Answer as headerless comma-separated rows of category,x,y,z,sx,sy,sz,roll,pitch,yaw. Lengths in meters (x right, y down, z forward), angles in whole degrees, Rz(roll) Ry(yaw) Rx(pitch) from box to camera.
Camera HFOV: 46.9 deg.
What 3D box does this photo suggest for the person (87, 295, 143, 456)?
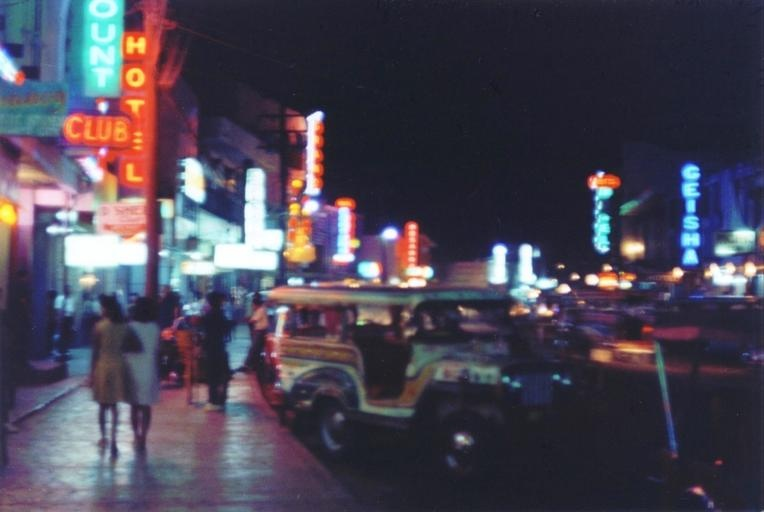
person,-5.632,2.408,18.058,0.962,3.220,1.023,2,4,11
